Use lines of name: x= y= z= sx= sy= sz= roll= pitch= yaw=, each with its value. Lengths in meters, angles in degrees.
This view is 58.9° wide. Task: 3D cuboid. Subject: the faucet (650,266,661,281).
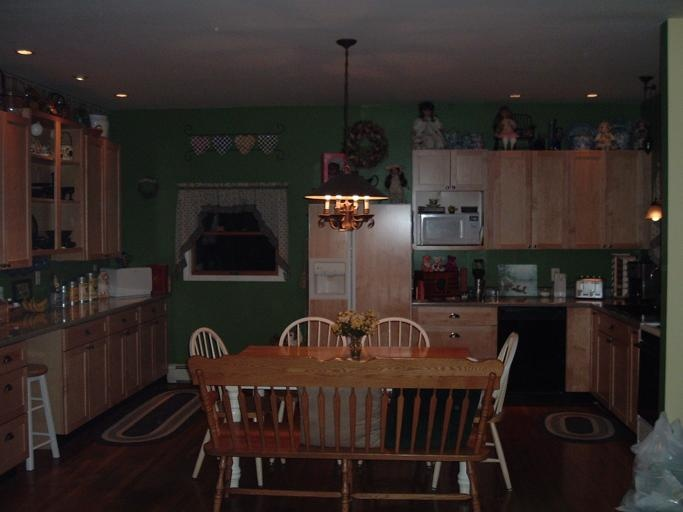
faucet: x=3.223 y=0.181 z=6.226 sx=0.084 sy=0.145 sz=0.039 roll=1 pitch=3 yaw=40

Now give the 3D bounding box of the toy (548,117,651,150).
toy: x=2.989 y=-1.353 z=6.838 sx=0.929 sy=0.392 sz=0.249 roll=0 pitch=2 yaw=9

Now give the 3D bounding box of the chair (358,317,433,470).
chair: x=0.521 y=1.120 z=6.102 sx=1.004 sy=1.344 sz=1.065 roll=0 pitch=0 yaw=9

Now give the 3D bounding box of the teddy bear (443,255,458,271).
teddy bear: x=1.286 y=0.082 z=7.057 sx=0.139 sy=0.167 sz=0.229 roll=0 pitch=2 yaw=11

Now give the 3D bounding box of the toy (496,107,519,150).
toy: x=1.891 y=-1.459 z=6.926 sx=0.255 sy=0.471 sz=0.096 roll=0 pitch=2 yaw=2

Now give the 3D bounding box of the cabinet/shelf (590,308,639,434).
cabinet/shelf: x=2.628 y=1.113 z=5.795 sx=0.604 sy=0.800 sz=1.126 roll=1 pitch=1 yaw=16

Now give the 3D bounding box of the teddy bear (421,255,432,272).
teddy bear: x=0.993 y=0.094 z=7.020 sx=0.107 sy=0.173 sz=0.181 roll=0 pitch=-10 yaw=3

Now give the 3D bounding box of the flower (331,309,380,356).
flower: x=0.094 y=0.625 z=4.756 sx=0.282 sy=0.393 sz=0.335 roll=-1 pitch=2 yaw=-22

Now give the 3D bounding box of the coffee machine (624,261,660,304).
coffee machine: x=3.197 y=0.406 z=6.544 sx=0.338 sy=0.644 sz=0.673 roll=0 pitch=-6 yaw=18

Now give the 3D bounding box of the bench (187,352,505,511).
bench: x=0.086 y=1.255 z=4.327 sx=2.035 sy=1.222 sz=1.010 roll=0 pitch=2 yaw=12
